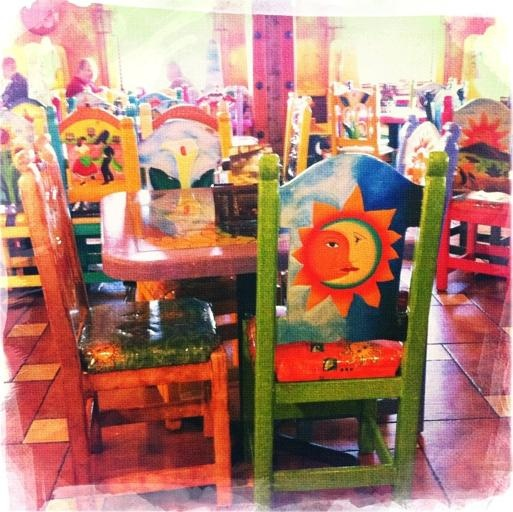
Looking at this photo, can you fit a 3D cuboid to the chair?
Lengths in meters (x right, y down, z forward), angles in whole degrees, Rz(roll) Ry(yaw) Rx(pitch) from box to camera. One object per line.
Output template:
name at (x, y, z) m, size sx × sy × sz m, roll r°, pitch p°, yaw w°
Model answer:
chair at (-0.029, -0.088, 2.115) m, size 1.250 × 1.710 × 1.040 m, roll -3°, pitch 17°, yaw -10°
